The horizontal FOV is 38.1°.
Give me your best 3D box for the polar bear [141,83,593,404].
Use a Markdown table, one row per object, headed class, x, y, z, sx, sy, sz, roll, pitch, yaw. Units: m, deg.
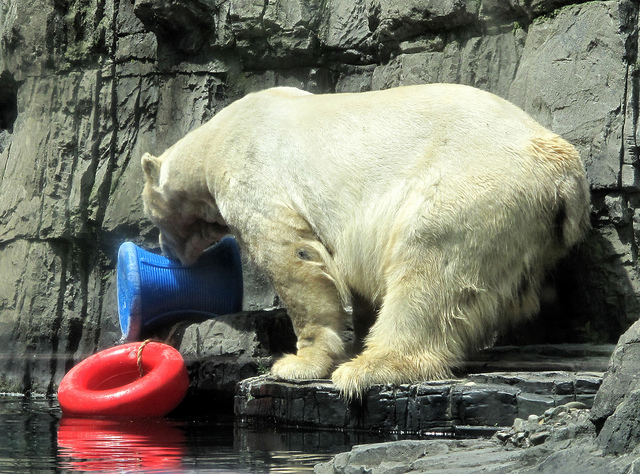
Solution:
| class | x | y | z | sx | sy | sz | roll | pitch | yaw |
| --- | --- | --- | --- | --- | --- | --- | --- | --- | --- |
| polar bear | 0.363 | -0.049 | 7.639 | 3.334 | 2.488 | 1.227 | 9 | 9 | 28 |
